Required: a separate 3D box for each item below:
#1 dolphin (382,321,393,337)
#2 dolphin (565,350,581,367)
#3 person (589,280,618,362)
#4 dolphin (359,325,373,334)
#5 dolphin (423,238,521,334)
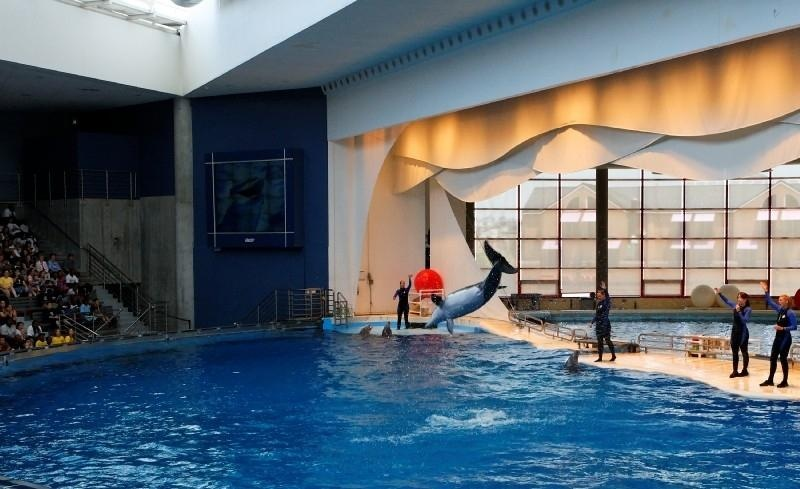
[{"bbox_3d":[-0.435,2.759,23.185,0.337,0.469,0.455,-1,10,-2],"label":"dolphin"},{"bbox_3d":[4.528,3.021,18.546,0.214,0.598,0.219,5,-15,21],"label":"dolphin"},{"bbox_3d":[5.694,2.181,19.342,0.788,2.508,0.867,-1,-6,-16],"label":"person"},{"bbox_3d":[-1.108,2.833,23.294,0.417,0.262,0.267,-30,4,16],"label":"dolphin"},{"bbox_3d":[1.963,1.593,20.823,1.793,3.123,1.332,37,20,-42],"label":"dolphin"}]
